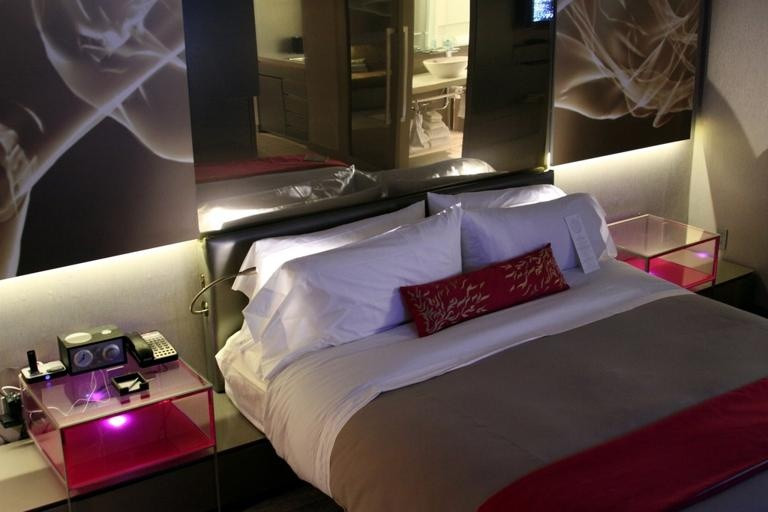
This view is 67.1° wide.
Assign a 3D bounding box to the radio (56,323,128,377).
[{"bbox_3d":[-1.452,0.446,2.868,0.322,0.209,0.187,-9,15,-34],"label":"radio"}]

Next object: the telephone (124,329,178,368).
[{"bbox_3d":[-1.215,0.460,2.973,0.211,0.083,0.274,-5,22,-38],"label":"telephone"}]
